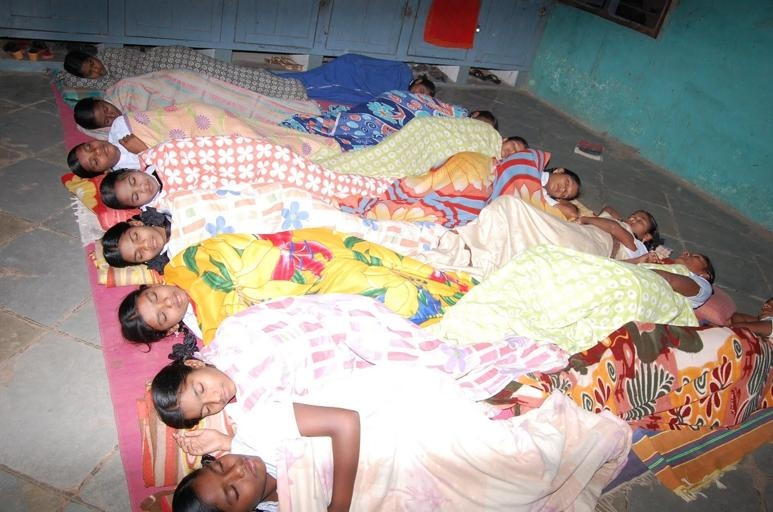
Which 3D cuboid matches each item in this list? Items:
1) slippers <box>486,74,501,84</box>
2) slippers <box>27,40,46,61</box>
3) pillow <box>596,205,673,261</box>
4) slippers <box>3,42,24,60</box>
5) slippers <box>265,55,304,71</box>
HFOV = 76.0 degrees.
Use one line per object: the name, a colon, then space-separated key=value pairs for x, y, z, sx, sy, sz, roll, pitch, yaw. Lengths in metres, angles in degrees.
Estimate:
slippers: x=1.386 y=-2.292 z=6.390 sx=0.197 sy=0.075 sz=0.138 roll=27 pitch=24 yaw=6
slippers: x=-3.128 y=-1.858 z=4.489 sx=0.130 sy=0.138 sz=0.212 roll=3 pitch=46 yaw=-22
pillow: x=1.687 y=-0.105 z=3.324 sx=0.462 sy=0.183 sz=0.336 roll=-18 pitch=50 yaw=-6
slippers: x=-3.295 y=-1.830 z=4.384 sx=0.149 sy=0.160 sz=0.111 roll=6 pitch=12 yaw=-37
slippers: x=-1.110 y=-2.115 z=5.410 sx=0.248 sy=0.098 sz=0.338 roll=-21 pitch=41 yaw=-40
